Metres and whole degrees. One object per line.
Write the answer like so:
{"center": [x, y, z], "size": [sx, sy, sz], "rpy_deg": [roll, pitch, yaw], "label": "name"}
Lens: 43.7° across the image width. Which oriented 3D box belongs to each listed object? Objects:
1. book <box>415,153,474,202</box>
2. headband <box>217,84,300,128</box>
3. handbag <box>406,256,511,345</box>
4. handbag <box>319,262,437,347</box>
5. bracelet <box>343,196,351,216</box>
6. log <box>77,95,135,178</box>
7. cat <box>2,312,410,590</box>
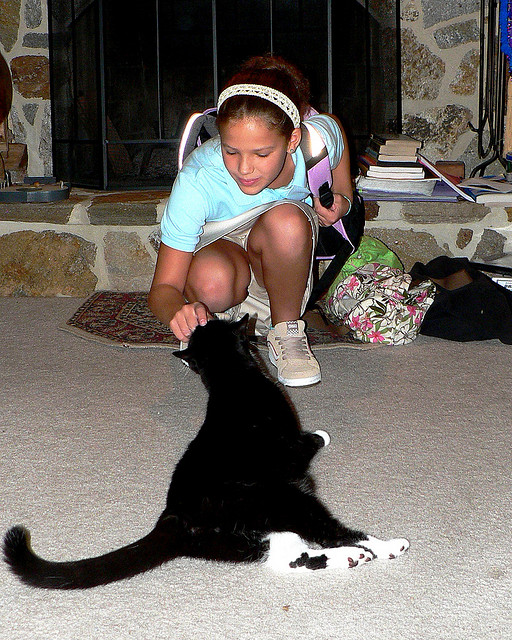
{"center": [0.709, -0.538, 2.425], "size": [0.219, 0.184, 0.338], "rpy_deg": [3, 7, 12], "label": "book"}
{"center": [0.013, -0.440, 1.267], "size": [0.110, 0.023, 0.104], "rpy_deg": [13, 4, 2], "label": "headband"}
{"center": [0.653, -0.084, 1.989], "size": [0.263, 0.106, 0.321], "rpy_deg": [5, 18, 12], "label": "handbag"}
{"center": [0.362, -0.019, 1.935], "size": [0.286, 0.097, 0.275], "rpy_deg": [23, 56, 30], "label": "handbag"}
{"center": [0.236, -0.296, 1.654], "size": [0.012, 0.050, 0.056], "rpy_deg": [5, 8, 21], "label": "bracelet"}
{"center": [-0.691, -0.824, 2.893], "size": [0.195, 0.336, 0.375], "rpy_deg": [2, 7, 2], "label": "log"}
{"center": [-0.103, 0.183, 0.920], "size": [0.481, 0.310, 0.414], "rpy_deg": [-3, 8, -33], "label": "cat"}
